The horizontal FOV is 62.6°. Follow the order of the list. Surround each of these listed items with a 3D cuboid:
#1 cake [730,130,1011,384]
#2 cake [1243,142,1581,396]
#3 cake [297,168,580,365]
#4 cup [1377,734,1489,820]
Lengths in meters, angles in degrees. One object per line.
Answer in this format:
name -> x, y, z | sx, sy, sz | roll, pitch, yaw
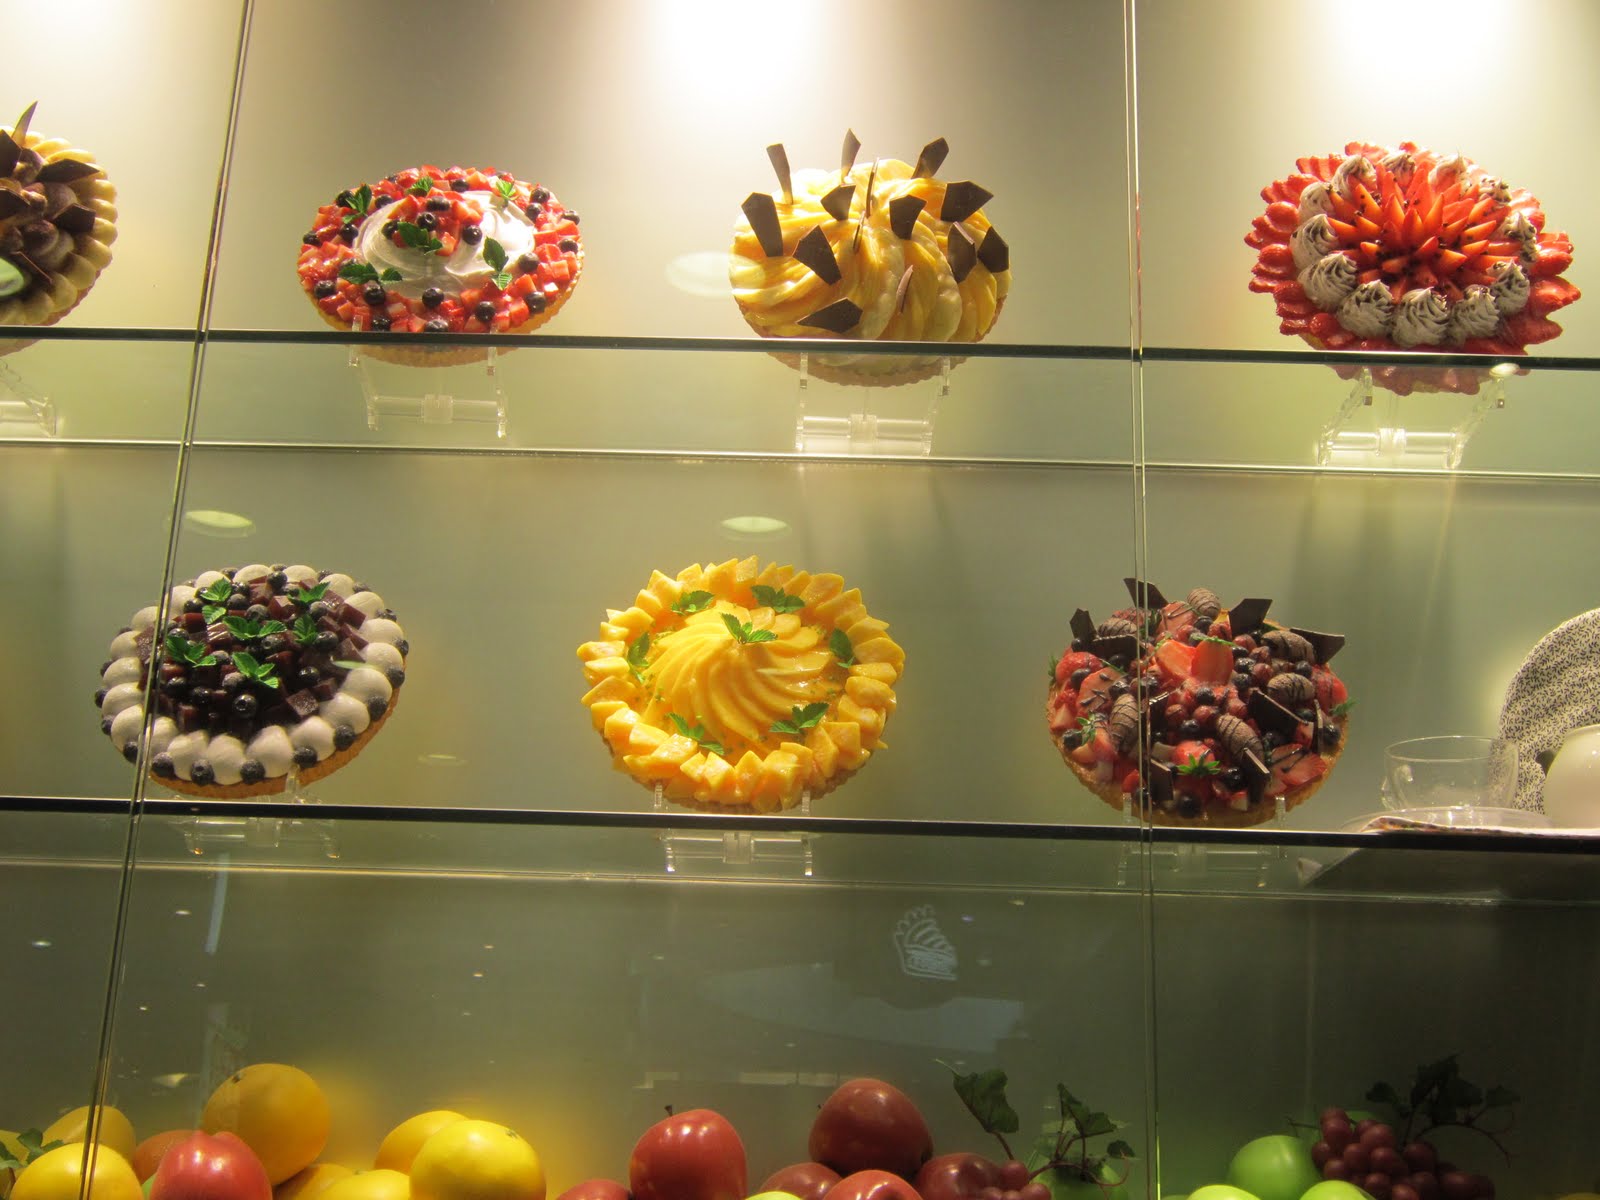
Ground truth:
cake -> 0.071, -0.375, 1.469 | 0.273, 0.156, 0.305 | -1, 52, -3
cake -> 0.687, -0.390, 1.483 | 0.347, 0.221, 0.210 | 10, 18, 15
cake -> -0.418, -0.406, 1.536 | 0.312, 0.180, 0.222 | -2, 19, -21
cup -> 0.667, 0.184, 1.375 | 0.085, 0.069, 0.081 | -4, 1, 0
